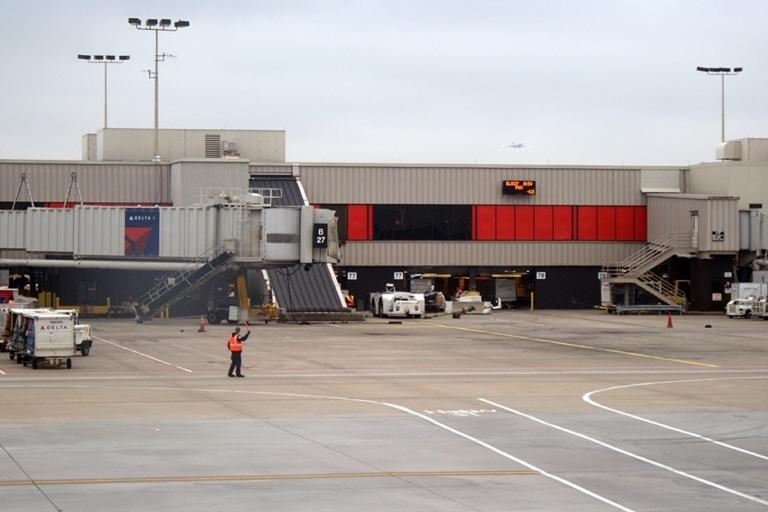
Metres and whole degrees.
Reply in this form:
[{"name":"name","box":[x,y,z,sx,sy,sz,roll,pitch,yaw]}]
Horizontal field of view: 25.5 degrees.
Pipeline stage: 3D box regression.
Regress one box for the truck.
[{"name":"truck","box":[-17.847,4.225,88.999,2.884,1.834,4.015,0,-1,-21]}]

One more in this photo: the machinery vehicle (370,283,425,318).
[{"name":"machinery vehicle","box":[1.170,3.196,122.936,3.186,1.578,4.934,-2,6,-9]}]

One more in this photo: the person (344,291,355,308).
[{"name":"person","box":[-2.358,3.351,126.846,0.867,0.987,1.116,0,-7,-9]}]

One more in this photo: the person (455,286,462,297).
[{"name":"person","box":[5.905,2.861,134.297,0.471,0.511,0.901,-1,16,2]}]
